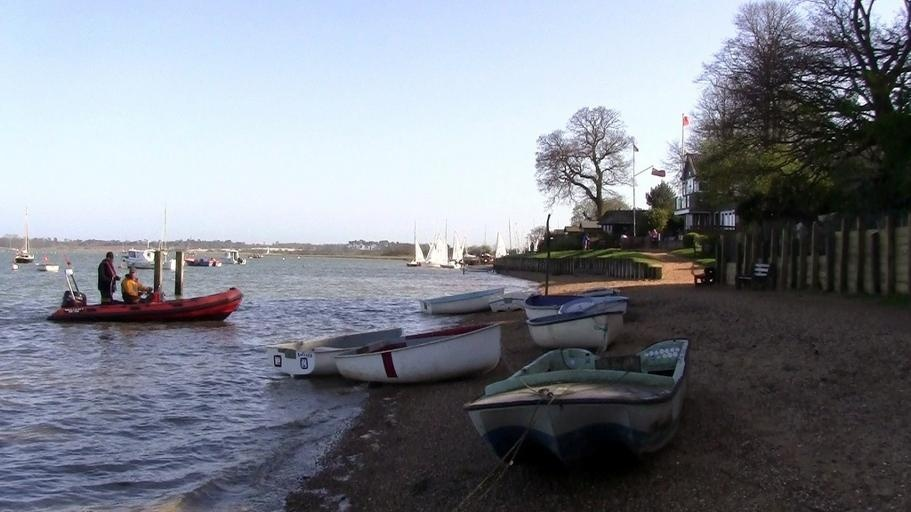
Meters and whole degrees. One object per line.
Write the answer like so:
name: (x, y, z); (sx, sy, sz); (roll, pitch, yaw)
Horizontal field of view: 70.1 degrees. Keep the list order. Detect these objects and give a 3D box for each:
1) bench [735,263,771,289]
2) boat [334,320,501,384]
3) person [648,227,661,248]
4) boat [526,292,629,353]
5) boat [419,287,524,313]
bench: (12.490, 0.877, 27.494); (0.892, 1.140, 1.531); (-1, 0, -7)
boat: (-0.997, 3.425, 21.897); (4.645, 1.540, 2.416); (-4, 2, 13)
person: (18.019, -1.525, 59.054); (0.541, 1.488, 1.276); (-3, 1, -11)
boat: (4.076, 2.345, 23.510); (2.046, 1.079, 3.299); (-6, 1, -11)
boat: (0.491, 2.612, 36.069); (4.588, 1.189, 1.898); (-8, 6, -11)
